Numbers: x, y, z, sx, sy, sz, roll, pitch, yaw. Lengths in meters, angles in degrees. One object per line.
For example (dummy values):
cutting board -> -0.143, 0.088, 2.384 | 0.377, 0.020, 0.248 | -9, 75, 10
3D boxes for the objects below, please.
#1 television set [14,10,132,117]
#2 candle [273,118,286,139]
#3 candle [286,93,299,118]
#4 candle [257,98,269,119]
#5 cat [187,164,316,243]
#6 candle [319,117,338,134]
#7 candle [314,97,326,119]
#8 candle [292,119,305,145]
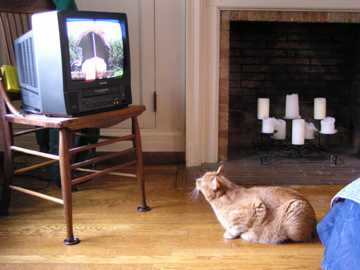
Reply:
television set -> -0.627, -0.411, 1.898 | 0.665, 0.474, 0.597 | -1, 19, -1
candle -> 0.910, -0.051, 2.981 | 0.098, 0.169, 0.065 | 2, 17, 19
candle -> 1.026, -0.268, 2.971 | 0.115, 0.207, 0.129 | 1, 17, 17
candle -> 0.760, -0.246, 2.998 | 0.098, 0.186, 0.152 | -1, 16, 10
cat -> 0.354, 0.373, 1.891 | 0.766, 0.344, 0.268 | 3, 12, 21
candle -> 1.302, -0.087, 2.875 | 0.166, 0.126, 0.152 | -3, 7, -14
candle -> 1.264, -0.240, 2.946 | 0.093, 0.186, 0.088 | 1, 17, 16
candle -> 1.040, -0.026, 2.869 | 0.103, 0.231, 0.091 | 1, 17, 16
